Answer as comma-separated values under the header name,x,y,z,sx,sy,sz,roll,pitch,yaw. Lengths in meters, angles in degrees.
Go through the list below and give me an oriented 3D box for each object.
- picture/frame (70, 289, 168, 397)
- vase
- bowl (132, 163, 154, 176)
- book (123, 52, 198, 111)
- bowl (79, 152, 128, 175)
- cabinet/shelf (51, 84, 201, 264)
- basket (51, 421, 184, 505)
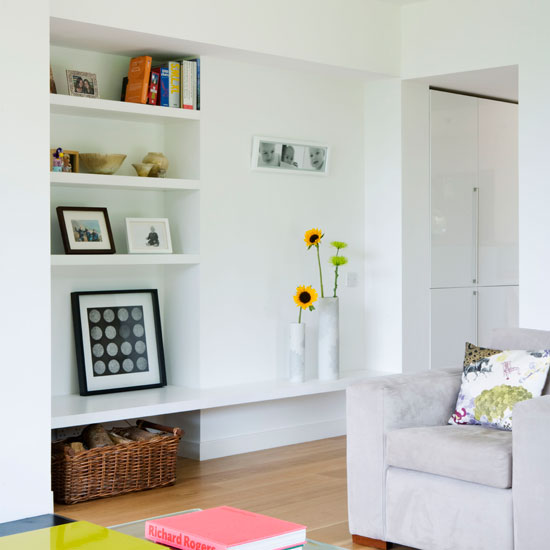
name,x,y,z,sx,sy,sz,roll,pitch,yaw
picture/frame,-1.067,0.467,3.426,0.726,0.741,0.062,2,-12,-42
vase,0.294,0.485,3.887,0.426,0.640,0.328,-4,5,-9
bowl,-0.867,-0.673,3.391,0.116,0.082,0.105,-1,4,-26
book,-0.744,-1.248,3.354,0.460,0.315,0.273,-2,10,-38
bowl,-1.084,-0.696,3.219,0.191,0.071,0.188,-1,3,0
cabinet/shelf,-0.992,-0.660,3.343,1.297,1.132,0.405,0,-1,-33
basket,-0.931,1.052,2.925,0.566,0.229,0.405,4,-6,-40
